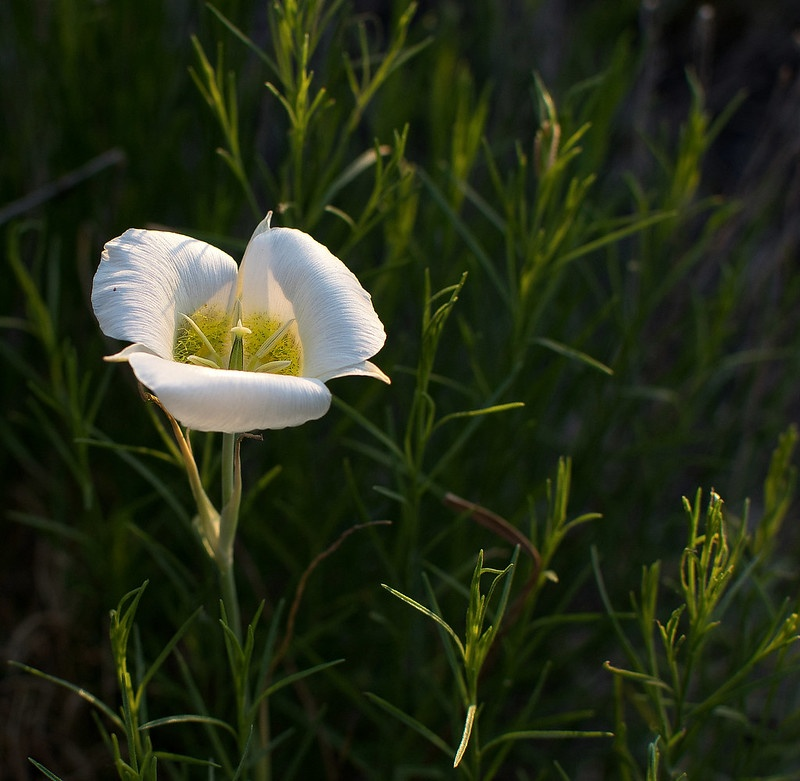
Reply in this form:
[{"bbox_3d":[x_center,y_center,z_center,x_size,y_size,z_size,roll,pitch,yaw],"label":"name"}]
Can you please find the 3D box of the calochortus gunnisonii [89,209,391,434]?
[{"bbox_3d":[-0.159,-0.051,0.880,0.278,0.165,0.248,4,39,-24],"label":"calochortus gunnisonii"}]
